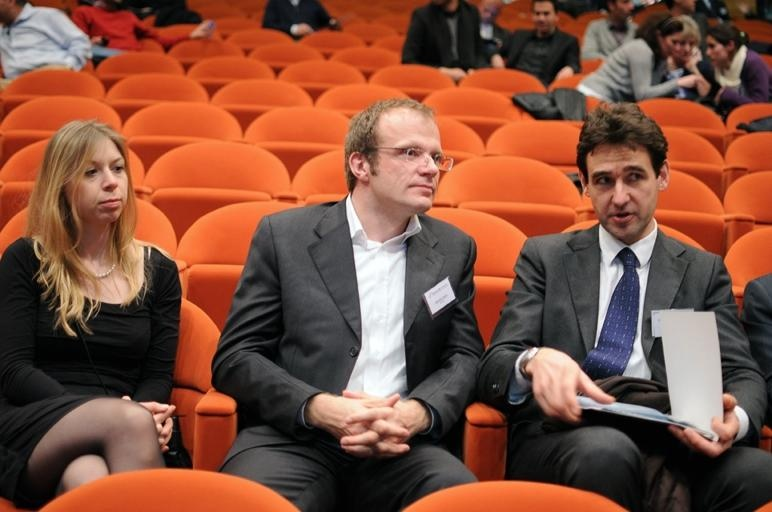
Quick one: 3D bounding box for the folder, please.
[{"bbox_3d":[0.967,0.412,2.460,0.486,0.418,0.386,4,0,39],"label":"folder"}]
